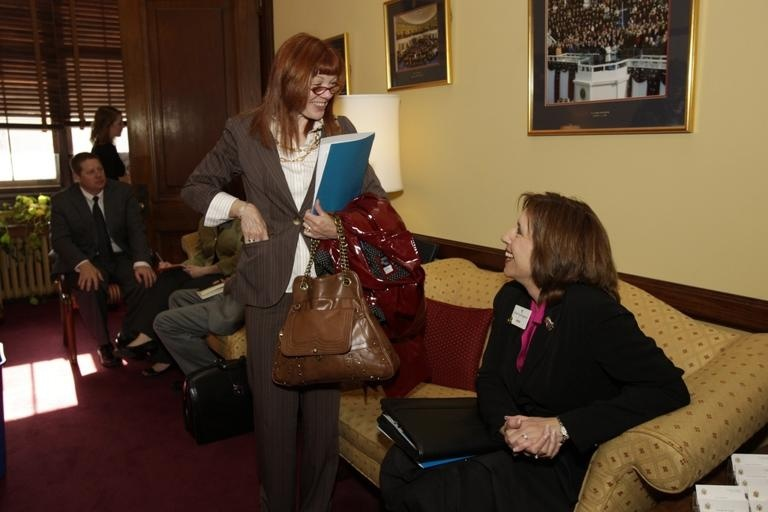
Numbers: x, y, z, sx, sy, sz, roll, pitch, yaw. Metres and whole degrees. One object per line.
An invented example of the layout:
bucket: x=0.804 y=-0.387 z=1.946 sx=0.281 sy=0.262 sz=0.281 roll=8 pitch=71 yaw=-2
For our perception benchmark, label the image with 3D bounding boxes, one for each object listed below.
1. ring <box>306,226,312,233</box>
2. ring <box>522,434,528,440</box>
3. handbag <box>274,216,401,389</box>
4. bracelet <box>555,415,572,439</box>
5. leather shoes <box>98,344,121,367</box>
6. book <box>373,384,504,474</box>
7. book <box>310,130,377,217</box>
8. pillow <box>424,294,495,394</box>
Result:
ring: x=-0.342 y=-0.121 z=2.347 sx=0.022 sy=0.024 sz=0.007 roll=20 pitch=-8 yaw=11
ring: x=0.558 y=0.715 z=2.073 sx=0.021 sy=0.022 sz=0.013 roll=1 pitch=12 yaw=5
handbag: x=-0.213 y=0.184 z=2.331 sx=0.601 sy=0.885 sz=0.313 roll=-5 pitch=-3 yaw=10
bracelet: x=0.710 y=0.682 z=2.065 sx=0.015 sy=0.063 sz=0.042 roll=-19 pitch=-21 yaw=0
leather shoes: x=-2.463 y=0.895 z=4.675 sx=0.133 sy=0.165 sz=0.336 roll=-4 pitch=8 yaw=-37
book: x=0.252 y=0.683 z=2.204 sx=0.372 sy=0.129 sz=0.308 roll=-3 pitch=14 yaw=-28
book: x=-0.195 y=-0.366 z=2.340 sx=0.104 sy=0.379 sz=0.280 roll=28 pitch=39 yaw=31
pillow: x=0.433 y=0.501 z=3.049 sx=0.445 sy=0.461 sz=0.130 roll=9 pitch=3 yaw=42
